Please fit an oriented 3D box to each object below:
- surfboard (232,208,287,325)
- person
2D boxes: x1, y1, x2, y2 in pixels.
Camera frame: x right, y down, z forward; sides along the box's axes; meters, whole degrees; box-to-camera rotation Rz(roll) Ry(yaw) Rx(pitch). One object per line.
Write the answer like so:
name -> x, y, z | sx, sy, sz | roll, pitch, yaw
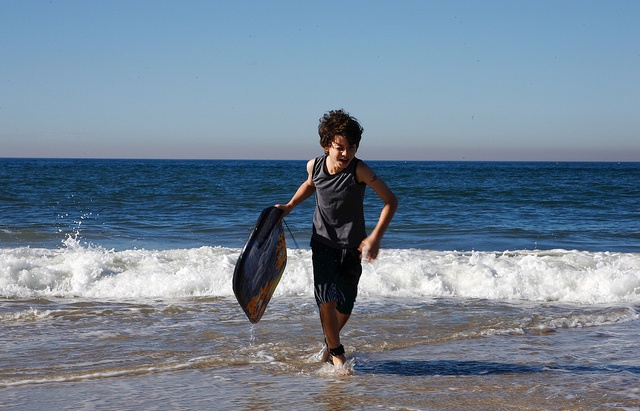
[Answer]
surfboard -> -0.844, 0.944, 11.618 | 0.404, 1.397, 1.420 | 12, -22, 21
person -> 0.327, 0.444, 10.470 | 1.029, 3.336, 0.381 | 2, 6, 0
